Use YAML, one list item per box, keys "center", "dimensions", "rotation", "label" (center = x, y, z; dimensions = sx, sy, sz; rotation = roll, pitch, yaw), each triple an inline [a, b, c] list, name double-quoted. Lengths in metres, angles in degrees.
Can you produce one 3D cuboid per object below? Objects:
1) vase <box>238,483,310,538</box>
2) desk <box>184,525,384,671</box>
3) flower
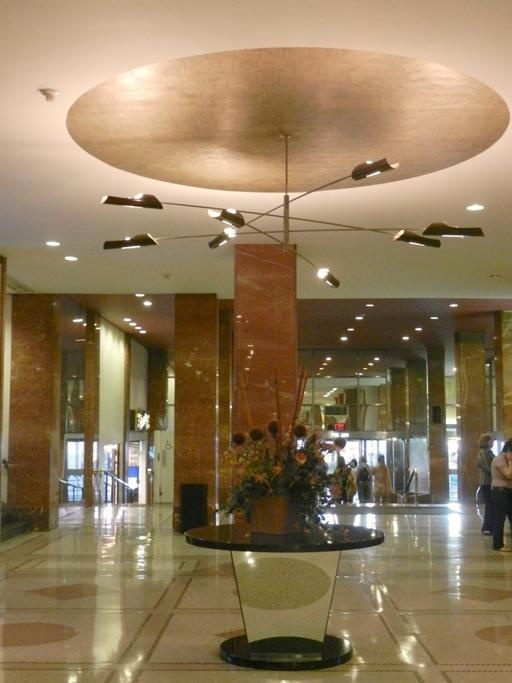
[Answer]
- center: [0.101, 0.990, 3.469]
  dimensions: [0.297, 0.171, 0.296]
  rotation: [-1, -4, 23]
  label: "vase"
- center: [0.079, 1.623, 3.815]
  dimensions: [1.347, 0.790, 1.362]
  rotation: [-6, -20, 25]
  label: "desk"
- center: [0.191, 0.830, 3.790]
  dimensions: [0.721, 0.578, 0.838]
  rotation: [17, -4, -4]
  label: "flower"
